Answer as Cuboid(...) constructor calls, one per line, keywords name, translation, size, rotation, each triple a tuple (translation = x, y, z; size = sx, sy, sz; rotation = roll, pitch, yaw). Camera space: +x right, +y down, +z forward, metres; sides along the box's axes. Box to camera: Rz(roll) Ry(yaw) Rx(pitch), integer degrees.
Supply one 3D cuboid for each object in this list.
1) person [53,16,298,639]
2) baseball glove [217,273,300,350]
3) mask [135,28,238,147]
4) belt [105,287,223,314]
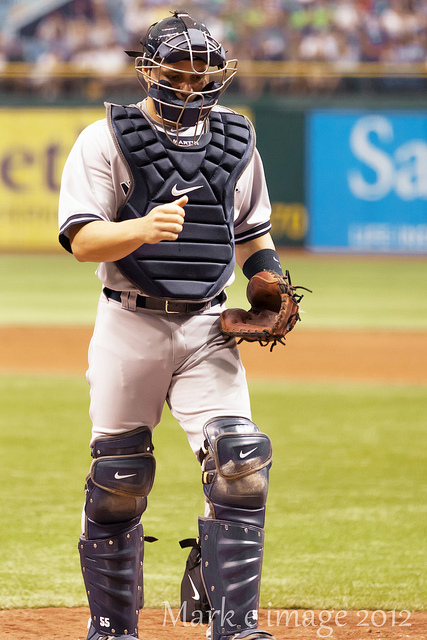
Cuboid(name="person", translation=(-0.083, 0.027, 2.670), size=(0.648, 1.816, 0.646), rotation=(2, 11, 18))
Cuboid(name="baseball glove", translation=(0.175, -0.003, 2.738), size=(0.269, 0.226, 0.122), rotation=(4, -16, 35))
Cuboid(name="mask", translation=(-0.084, -0.673, 2.635), size=(0.276, 0.331, 0.259), rotation=(-2, 9, -3))
Cuboid(name="belt", translation=(-0.148, -0.071, 2.704), size=(0.297, 0.084, 0.222), rotation=(1, 5, 39))
